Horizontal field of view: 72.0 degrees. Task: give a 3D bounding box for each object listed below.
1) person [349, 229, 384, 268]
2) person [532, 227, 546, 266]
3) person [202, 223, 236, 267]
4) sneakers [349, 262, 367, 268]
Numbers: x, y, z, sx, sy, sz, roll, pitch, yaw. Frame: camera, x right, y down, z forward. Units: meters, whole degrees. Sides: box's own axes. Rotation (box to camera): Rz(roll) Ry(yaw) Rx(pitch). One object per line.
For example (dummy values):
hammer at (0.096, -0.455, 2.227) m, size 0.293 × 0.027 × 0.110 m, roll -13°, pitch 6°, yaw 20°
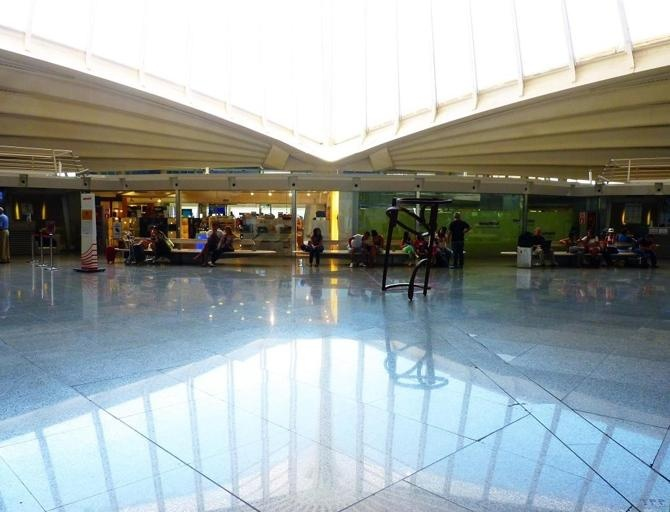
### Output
person at (1.192, -0.211, 17.307) m, size 1.023 × 0.564 × 1.357 m, roll -13°, pitch -19°, yaw -8°
person at (7.278, -0.305, 16.486) m, size 0.293 × 1.298 × 0.487 m, roll 1°, pitch 6°, yaw 23°
person at (-4.260, -0.342, 16.823) m, size 1.108 × 1.369 × 0.864 m, roll -3°, pitch 6°, yaw -17°
sneakers at (0.851, 0.357, 16.954) m, size 0.667 × 0.250 × 0.202 m, roll 4°, pitch -4°, yaw -41°
